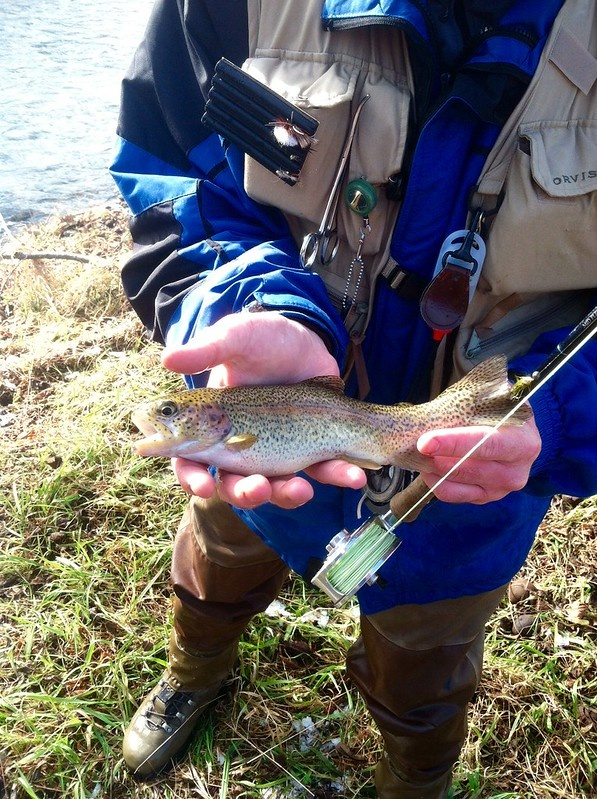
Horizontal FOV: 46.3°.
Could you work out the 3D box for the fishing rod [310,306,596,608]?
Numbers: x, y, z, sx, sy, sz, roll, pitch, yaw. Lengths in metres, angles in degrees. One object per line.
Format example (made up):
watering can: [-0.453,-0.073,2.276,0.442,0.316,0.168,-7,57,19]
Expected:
fishing rod: [0.447,0.143,2.177,1.439,0.163,0.274,-39,58,6]

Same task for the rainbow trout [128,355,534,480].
rainbow trout: [0.142,0.054,2.105,1.609,0.229,0.449,0,53,-13]

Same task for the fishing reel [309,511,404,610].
fishing reel: [0.185,0.465,2.055,0.290,0.128,0.195,-43,60,-10]

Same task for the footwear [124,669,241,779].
footwear: [-0.487,1.304,2.947,0.192,0.228,0.563,37,48,10]
